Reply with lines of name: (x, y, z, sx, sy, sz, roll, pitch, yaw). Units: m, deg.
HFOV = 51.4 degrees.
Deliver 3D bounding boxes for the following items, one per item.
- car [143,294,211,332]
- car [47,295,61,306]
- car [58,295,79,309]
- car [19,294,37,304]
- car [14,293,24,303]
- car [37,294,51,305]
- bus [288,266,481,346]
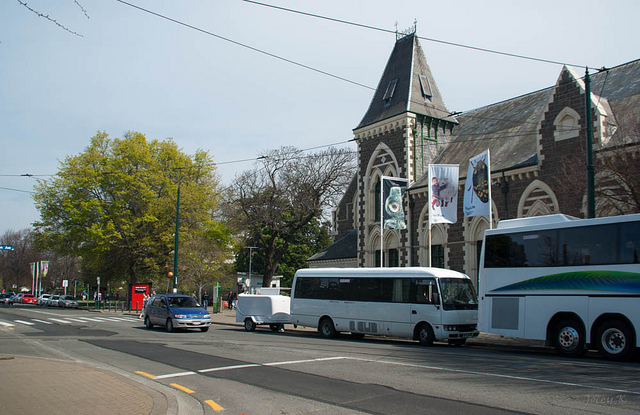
car: (-8.175, 5.982, 37.793, 4.099, 2.197, 1.689, -11, -15, 40)
car: (-30.208, 10.443, 74.946, 1.138, 0.979, 2.079, 4, -11, -29)
car: (-26.421, 9.832, 69.747, 1.441, 1.211, 2.810, 6, -13, -37)
car: (-37.620, 11.656, 84.695, 1.410, 0.768, 2.465, 8, -13, -41)
car: (-39.646, 11.838, 87.168, 1.395, 1.153, 2.321, 4, -10, -27)
car: (-32.452, 10.770, 77.836, 1.221, 1.104, 2.186, 7, -21, -34)
bus: (3.281, 5.127, 35.046, 10.477, 3.767, 3.436, -5, -8, 42)
